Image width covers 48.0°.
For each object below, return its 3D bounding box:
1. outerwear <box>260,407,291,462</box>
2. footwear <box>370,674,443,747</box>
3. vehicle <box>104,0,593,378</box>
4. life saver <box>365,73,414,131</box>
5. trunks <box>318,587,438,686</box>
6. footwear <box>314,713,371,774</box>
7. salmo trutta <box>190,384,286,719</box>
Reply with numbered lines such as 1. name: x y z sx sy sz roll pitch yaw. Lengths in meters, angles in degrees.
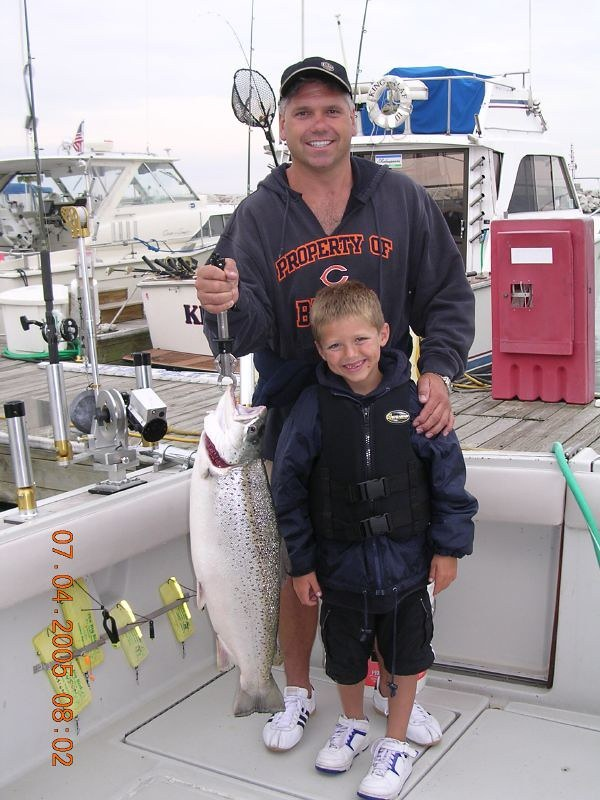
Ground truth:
1. outerwear: -0.049 0.091 1.735 0.041 0.164 0.087 15 -21 -21
2. footwear: 0.282 0.835 1.847 0.091 0.092 0.238 -2 6 -28
3. vehicle: 1.662 -2.648 7.843 2.458 2.552 6.923 6 13 27
4. life saver: 0.797 -2.600 5.919 0.392 0.414 0.144 21 22 33
5. trunks: 0.180 0.535 1.593 0.258 0.222 0.136 -2 1 -6
6. footwear: 0.130 0.845 1.696 0.072 0.093 0.209 -4 -1 26
7. salmo trutta: -0.134 0.324 1.375 0.182 0.705 0.225 -2 3 -4
